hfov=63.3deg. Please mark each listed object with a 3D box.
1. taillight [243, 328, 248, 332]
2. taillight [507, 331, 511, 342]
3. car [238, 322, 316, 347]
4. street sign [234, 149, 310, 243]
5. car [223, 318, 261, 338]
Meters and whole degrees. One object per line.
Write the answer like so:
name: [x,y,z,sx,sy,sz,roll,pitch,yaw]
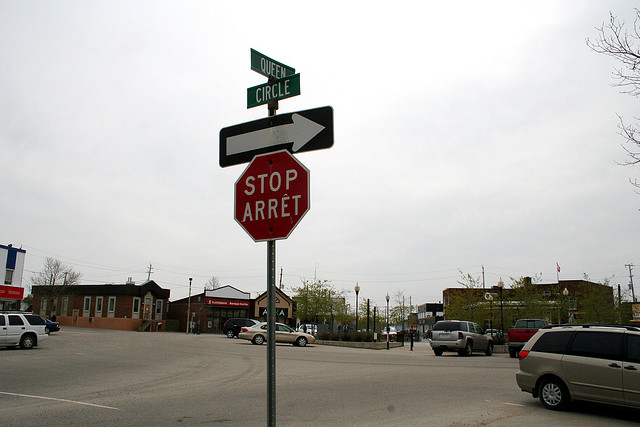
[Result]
taillight: [-5.587,8.792,39.037,0.170,0.303,0.623,7,-18,-29]
taillight: [11.789,7.709,32.322,0.113,0.611,0.159,-5,-15,14]
car: [-3.283,9.291,39.877,5.285,1.829,2.642,10,-19,-36]
street sign: [-0.834,-0.322,9.454,1.611,1.991,0.069,0,-10,9]
car: [-7.281,10.727,47.380,3.938,1.877,1.967,-2,-5,1]
